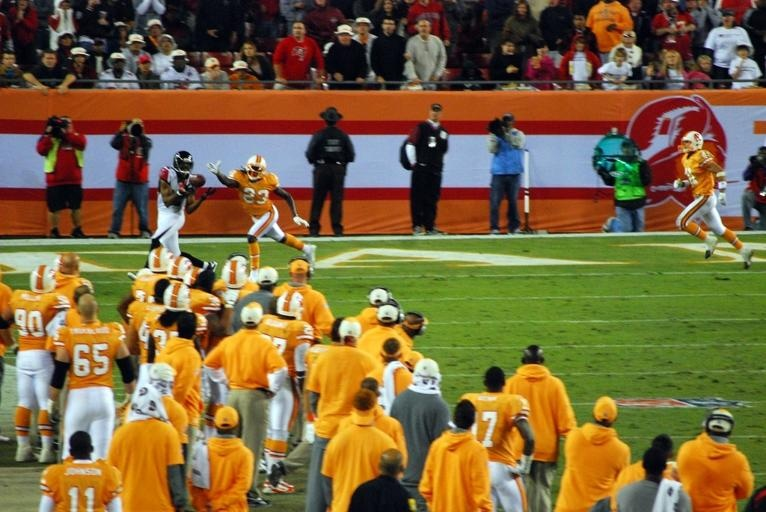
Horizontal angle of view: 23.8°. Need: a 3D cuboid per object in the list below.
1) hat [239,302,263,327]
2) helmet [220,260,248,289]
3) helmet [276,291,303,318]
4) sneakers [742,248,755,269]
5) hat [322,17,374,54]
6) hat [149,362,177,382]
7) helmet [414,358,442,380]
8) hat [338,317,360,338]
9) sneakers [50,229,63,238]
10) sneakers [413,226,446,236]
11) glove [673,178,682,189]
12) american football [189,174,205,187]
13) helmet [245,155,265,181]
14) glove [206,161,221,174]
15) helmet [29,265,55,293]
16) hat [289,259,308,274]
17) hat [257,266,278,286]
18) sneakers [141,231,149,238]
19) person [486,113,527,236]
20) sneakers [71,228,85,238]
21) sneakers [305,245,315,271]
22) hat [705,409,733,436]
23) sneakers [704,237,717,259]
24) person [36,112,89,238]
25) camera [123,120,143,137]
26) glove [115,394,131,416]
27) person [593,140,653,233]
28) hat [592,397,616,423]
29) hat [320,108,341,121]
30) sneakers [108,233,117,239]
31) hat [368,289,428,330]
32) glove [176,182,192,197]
[{"bbox_3d":[-1.816,0.836,25.811,0.286,0.291,0.348,2,21,4],"label":"hat"},{"bbox_3d":[-2.156,0.295,27.045,0.368,0.407,0.382,4,-21,-3],"label":"helmet"},{"bbox_3d":[-1.259,0.711,26.295,0.422,0.335,0.303,-14,15,-19],"label":"helmet"},{"bbox_3d":[6.435,0.033,31.824,0.158,0.439,0.212,-38,47,-26],"label":"sneakers"},{"bbox_3d":[-0.600,-4.173,34.544,0.991,0.789,1.087,0,-2,-2],"label":"hat"},{"bbox_3d":[-2.945,1.564,24.617,0.320,0.270,0.229,-9,1,0],"label":"hat"},{"bbox_3d":[0.647,1.552,25.027,0.357,0.299,0.264,0,8,8],"label":"helmet"},{"bbox_3d":[-0.440,1.004,25.518,0.255,0.279,0.294,-1,-19,-1],"label":"hat"},{"bbox_3d":[-5.922,-0.399,33.218,0.247,0.210,0.109,0,24,-11],"label":"sneakers"},{"bbox_3d":[0.903,-0.462,33.832,0.634,0.239,0.195,-1,10,0],"label":"sneakers"},{"bbox_3d":[5.240,-1.259,32.047,0.190,0.103,0.238,-2,5,2],"label":"glove"},{"bbox_3d":[-2.978,-1.213,29.681,0.254,0.149,0.238,-6,13,-22],"label":"american football"},{"bbox_3d":[-2.136,-1.484,31.365,0.366,0.395,0.444,2,-2,-7],"label":"helmet"},{"bbox_3d":[-2.838,-1.479,31.026,0.338,0.140,0.400,23,2,-3],"label":"glove"},{"bbox_3d":[-4.935,0.316,26.461,0.332,0.369,0.409,4,14,9],"label":"helmet"},{"bbox_3d":[-1.206,0.165,26.997,0.267,0.213,0.177,0,-2,-6],"label":"hat"},{"bbox_3d":[-1.673,0.291,26.899,0.240,0.237,0.288,2,25,1],"label":"hat"},{"bbox_3d":[-4.285,-0.385,33.078,0.106,0.121,0.041,7,16,-2],"label":"sneakers"},{"bbox_3d":[2.314,-1.518,33.291,0.625,2.017,0.815,-1,-2,4],"label":"person"},{"bbox_3d":[-5.532,-0.403,33.251,0.310,0.188,0.094,3,44,-22],"label":"sneakers"},{"bbox_3d":[-1.190,0.039,30.376,0.197,0.404,0.144,-12,18,0],"label":"sneakers"},{"bbox_3d":[4.619,2.238,24.895,0.325,0.326,0.406,12,11,13],"label":"hat"},{"bbox_3d":[5.815,-0.104,32.151,0.228,0.164,0.478,10,-40,10],"label":"sneakers"},{"bbox_3d":[-5.772,-1.394,32.864,0.819,2.106,1.051,0,-2,-10],"label":"person"},{"bbox_3d":[-4.394,-2.269,32.278,0.298,0.293,0.312,11,5,-11],"label":"camera"},{"bbox_3d":[-3.759,2.174,26.515,0.158,0.195,0.469,16,-44,-7],"label":"glove"},{"bbox_3d":[4.498,-1.299,33.640,0.941,1.740,1.032,-1,-2,5],"label":"person"},{"bbox_3d":[3.106,2.135,25.088,0.329,0.363,0.402,3,-11,9],"label":"hat"},{"bbox_3d":[-0.920,-2.574,33.379,0.388,0.323,0.679,0,-2,-1],"label":"hat"},{"bbox_3d":[-4.867,-0.355,33.044,0.125,0.080,0.118,0,5,-11],"label":"sneakers"},{"bbox_3d":[0.221,0.781,26.468,0.774,0.654,0.877,0,-2,-7],"label":"hat"},{"bbox_3d":[-3.213,-1.072,29.531,0.239,0.184,0.464,3,1,-21],"label":"glove"}]
